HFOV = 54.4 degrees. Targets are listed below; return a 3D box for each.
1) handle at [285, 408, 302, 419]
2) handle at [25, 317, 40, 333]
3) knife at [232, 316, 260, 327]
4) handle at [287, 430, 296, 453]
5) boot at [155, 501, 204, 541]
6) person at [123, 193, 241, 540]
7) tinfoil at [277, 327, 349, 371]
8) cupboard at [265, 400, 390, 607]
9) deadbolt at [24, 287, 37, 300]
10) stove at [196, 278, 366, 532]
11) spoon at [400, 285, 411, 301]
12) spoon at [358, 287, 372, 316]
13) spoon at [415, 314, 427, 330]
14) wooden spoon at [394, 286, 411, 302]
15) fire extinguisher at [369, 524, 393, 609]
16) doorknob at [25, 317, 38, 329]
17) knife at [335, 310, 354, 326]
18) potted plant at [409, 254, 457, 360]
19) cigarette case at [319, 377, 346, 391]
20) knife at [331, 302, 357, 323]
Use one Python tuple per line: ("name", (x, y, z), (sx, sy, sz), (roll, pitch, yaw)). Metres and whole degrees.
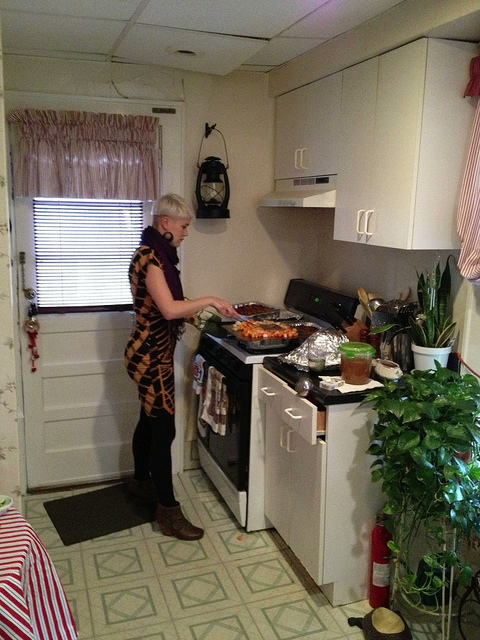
("handle", (0.203, 0.358, 1.790), (0.005, 0.023, 0.068), (17, 0, -26))
("handle", (-1.128, 0.029, 2.550), (0.071, 0.072, 0.037), (11, 16, 11))
("knife", (0.026, 0.004, 2.410), (0.039, 0.009, 0.167), (-26, 21, -21))
("handle", (0.199, 0.493, 1.883), (0.018, 0.078, 0.077), (4, -7, -24))
("boot", (-0.298, 0.991, 2.304), (0.251, 0.175, 0.085), (7, 19, 18))
("person", (-0.318, 0.250, 2.350), (0.576, 1.616, 0.623), (-5, 13, -30))
("tinfoil", (0.320, 0.114, 1.982), (0.240, 0.163, 0.260), (-3, 13, -27))
("cupboard", (0.287, 0.685, 1.904), (0.309, 0.849, 0.543), (-6, 9, -40))
("deadbolt", (-1.132, -0.140, 2.534), (0.053, 0.062, 0.041), (-3, -4, -3))
("stove", (-0.047, 0.400, 2.523), (0.685, 1.138, 1.212), (-3, 12, -17))
("spoon", (0.761, -0.124, 2.163), (0.008, 0.070, 0.034), (34, -20, -34))
("spoon", (0.622, -0.093, 2.324), (0.061, 0.113, 0.210), (1, 7, 15))
("spoon", (0.725, 0.008, 1.877), (0.022, 0.053, 0.053), (-8, -22, 12))
("wooden spoon", (0.756, -0.124, 2.182), (0.056, 0.064, 0.073), (-3, 8, -22))
("fire extinguisher", (0.529, 0.921, 1.767), (0.084, 0.354, 0.092), (3, 12, 22))
("doorknob", (-1.131, 0.015, 2.541), (0.048, 0.038, 0.056), (0, 7, -7))
("knife", (0.545, -0.004, 2.416), (0.023, 0.033, 0.138), (-14, -25, 21))
("potted plant", (0.765, -0.055, 1.847), (0.169, 0.398, 0.245), (3, 8, 25))
("cigarette case", (0.347, 0.234, 1.734), (0.073, 0.024, 0.127), (6, 10, 41))
("knife", (0.557, -0.038, 2.478), (0.156, 0.017, 0.019), (36, 30, -8))
